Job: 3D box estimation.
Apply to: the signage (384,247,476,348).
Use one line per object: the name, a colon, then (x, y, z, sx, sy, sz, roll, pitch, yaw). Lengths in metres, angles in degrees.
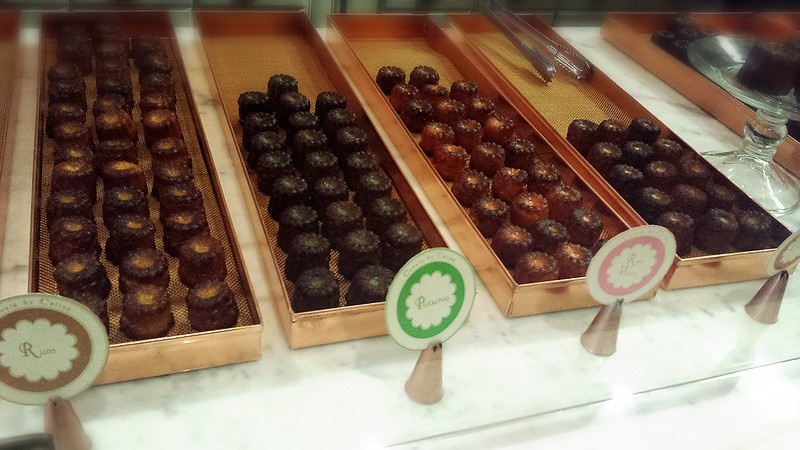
signage: (0.114, 0.287, 2.061, 0.367, 0.404, 0.173, -29, 52, -28)

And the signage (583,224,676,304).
signage: (1.036, 0.180, 2.338, 0.009, 0.458, 0.433, 37, 58, -17)
